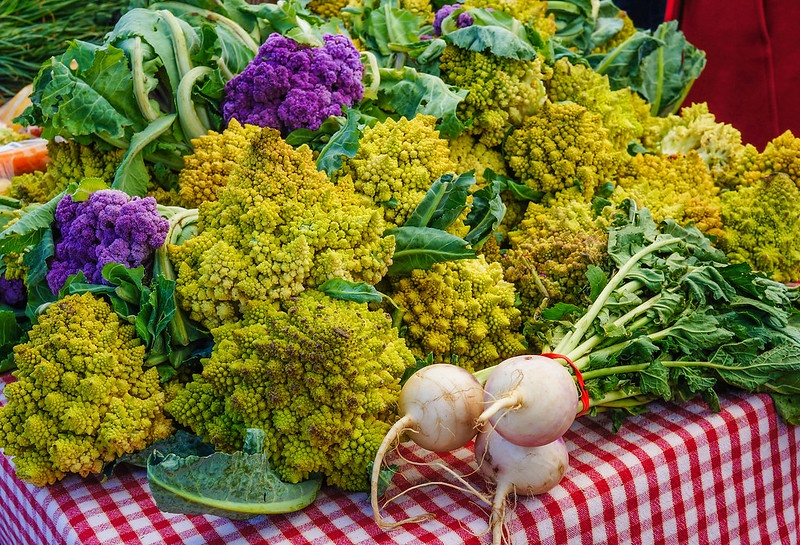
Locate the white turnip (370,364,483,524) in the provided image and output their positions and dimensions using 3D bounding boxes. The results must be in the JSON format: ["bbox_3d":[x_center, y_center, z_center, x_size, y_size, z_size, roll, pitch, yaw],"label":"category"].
[{"bbox_3d":[0.134,0.683,2.684,0.304,0.298,0.707,18,67,27],"label":"white turnip"}]

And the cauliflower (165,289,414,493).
[{"bbox_3d":[-0.428,0.453,2.643,0.778,0.531,0.805,27,25,19],"label":"cauliflower"}]

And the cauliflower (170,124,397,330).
[{"bbox_3d":[-0.502,-0.174,2.789,0.860,0.629,0.843,-10,15,-39],"label":"cauliflower"}]

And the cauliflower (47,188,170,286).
[{"bbox_3d":[-1.253,-0.175,2.835,0.477,0.298,0.398,10,30,36],"label":"cauliflower"}]

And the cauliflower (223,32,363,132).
[{"bbox_3d":[-0.549,-0.869,3.295,0.575,0.387,0.540,5,20,32],"label":"cauliflower"}]

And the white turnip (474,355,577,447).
[{"bbox_3d":[0.488,0.505,2.546,0.303,0.232,0.220,-3,31,-46],"label":"white turnip"}]

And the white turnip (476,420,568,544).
[{"bbox_3d":[0.479,0.754,2.595,0.257,0.229,0.465,1,38,41],"label":"white turnip"}]
